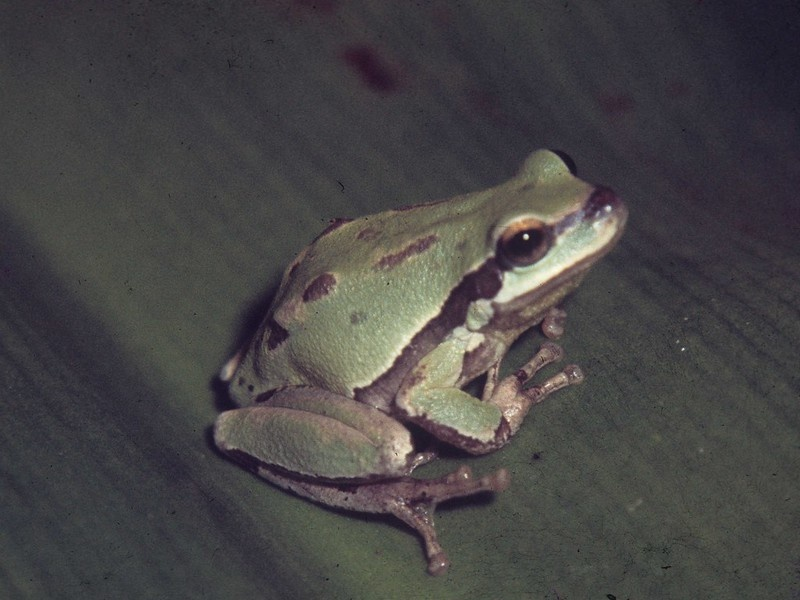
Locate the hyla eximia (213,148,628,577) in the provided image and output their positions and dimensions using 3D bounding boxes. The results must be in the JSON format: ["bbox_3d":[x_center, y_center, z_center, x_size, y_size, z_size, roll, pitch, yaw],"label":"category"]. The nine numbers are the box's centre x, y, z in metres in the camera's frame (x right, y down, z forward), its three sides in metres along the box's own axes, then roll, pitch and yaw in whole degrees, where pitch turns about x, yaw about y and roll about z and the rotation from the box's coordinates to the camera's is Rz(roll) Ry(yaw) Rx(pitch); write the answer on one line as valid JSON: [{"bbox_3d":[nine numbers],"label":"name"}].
[{"bbox_3d":[0.175,0.439,6.991,2.853,1.651,1.369,-28,41,-1],"label":"hyla eximia"}]
